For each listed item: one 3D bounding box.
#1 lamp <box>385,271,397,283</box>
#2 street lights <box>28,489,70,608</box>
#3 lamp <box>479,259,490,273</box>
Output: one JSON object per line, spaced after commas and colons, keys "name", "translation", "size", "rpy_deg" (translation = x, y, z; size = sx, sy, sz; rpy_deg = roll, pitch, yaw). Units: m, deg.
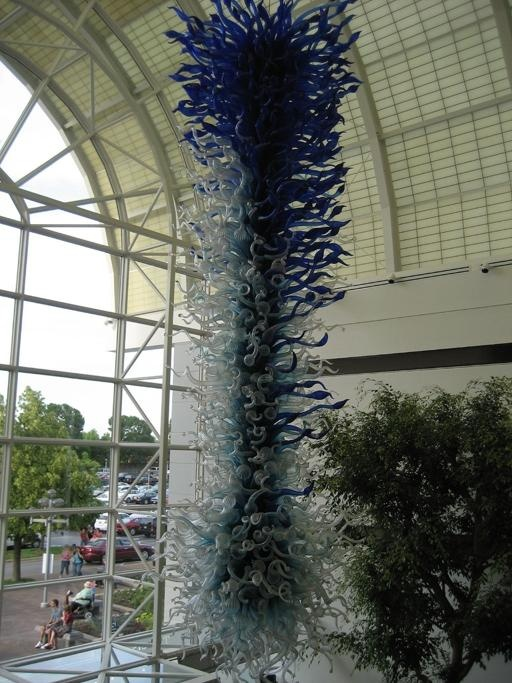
{"name": "lamp", "translation": [2.319, -1.076, 10.319], "size": [0.277, 0.166, 0.117], "rpy_deg": [-8, -20, 30]}
{"name": "street lights", "translation": [-3.204, 3.147, 9.379], "size": [0.187, 1.660, 0.832], "rpy_deg": [-8, -20, 28]}
{"name": "lamp", "translation": [3.589, -1.153, 9.401], "size": [0.138, 0.153, 0.207], "rpy_deg": [-3, -17, 15]}
